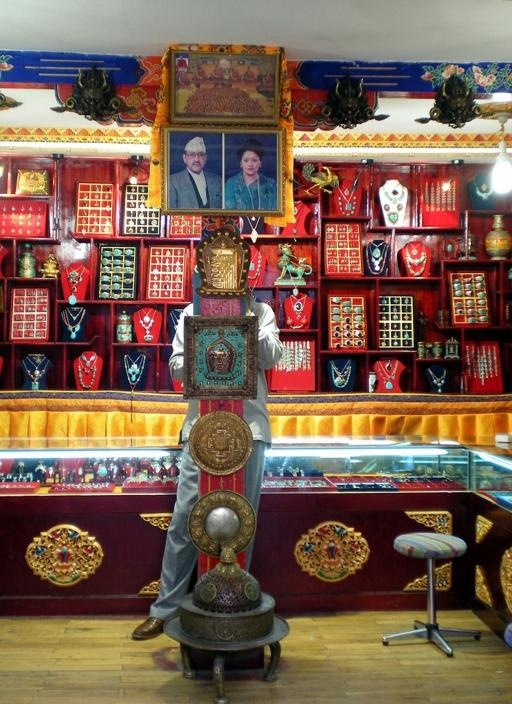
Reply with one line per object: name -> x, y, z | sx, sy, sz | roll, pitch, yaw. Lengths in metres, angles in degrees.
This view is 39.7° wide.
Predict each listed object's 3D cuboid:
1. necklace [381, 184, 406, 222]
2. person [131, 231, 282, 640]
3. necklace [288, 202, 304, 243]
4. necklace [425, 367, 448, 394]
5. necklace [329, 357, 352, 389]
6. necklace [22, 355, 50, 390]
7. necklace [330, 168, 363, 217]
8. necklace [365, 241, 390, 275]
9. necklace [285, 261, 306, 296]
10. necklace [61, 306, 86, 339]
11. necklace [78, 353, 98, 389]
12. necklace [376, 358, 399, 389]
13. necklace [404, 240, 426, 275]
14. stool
necklace -> 1.297, -1.397, 6.730 | 0.262, 0.443, 0.129 | 1, 7, 6
person -> -0.215, 0.365, 2.893 | 0.554, 1.683, 0.573 | 2, 8, 13
necklace -> 0.379, -1.247, 6.700 | 0.119, 0.339, 0.219 | 3, 8, 19
necklace -> 1.725, 0.268, 6.730 | 0.251, 0.283, 0.160 | 1, -8, 1
necklace -> 0.793, 0.225, 6.690 | 0.228, 0.274, 0.123 | 1, 7, 4
necklace -> -2.045, 0.192, 6.553 | 0.337, 0.379, 0.220 | 1, -5, -9
necklace -> 0.869, -1.482, 6.713 | 0.328, 0.461, 0.128 | 0, 3, -3
necklace -> 1.158, -0.889, 6.758 | 0.235, 0.333, 0.091 | 2, 7, 9
necklace -> 0.392, -0.689, 6.778 | 0.160, 0.266, 0.190 | 1, 7, 2
necklace -> -1.703, -0.267, 6.599 | 0.319, 0.346, 0.201 | 0, -4, -5
necklace -> -1.548, 0.178, 6.557 | 0.195, 0.332, 0.160 | -1, 7, -12
necklace -> 1.245, 0.220, 6.714 | 0.266, 0.311, 0.181 | 0, -12, 1
necklace -> 1.522, -0.889, 6.812 | 0.235, 0.282, 0.080 | 1, -1, 4
stool -> 0.732, 1.002, 2.955 | 0.383, 0.417, 0.379 | -6, -13, 45
